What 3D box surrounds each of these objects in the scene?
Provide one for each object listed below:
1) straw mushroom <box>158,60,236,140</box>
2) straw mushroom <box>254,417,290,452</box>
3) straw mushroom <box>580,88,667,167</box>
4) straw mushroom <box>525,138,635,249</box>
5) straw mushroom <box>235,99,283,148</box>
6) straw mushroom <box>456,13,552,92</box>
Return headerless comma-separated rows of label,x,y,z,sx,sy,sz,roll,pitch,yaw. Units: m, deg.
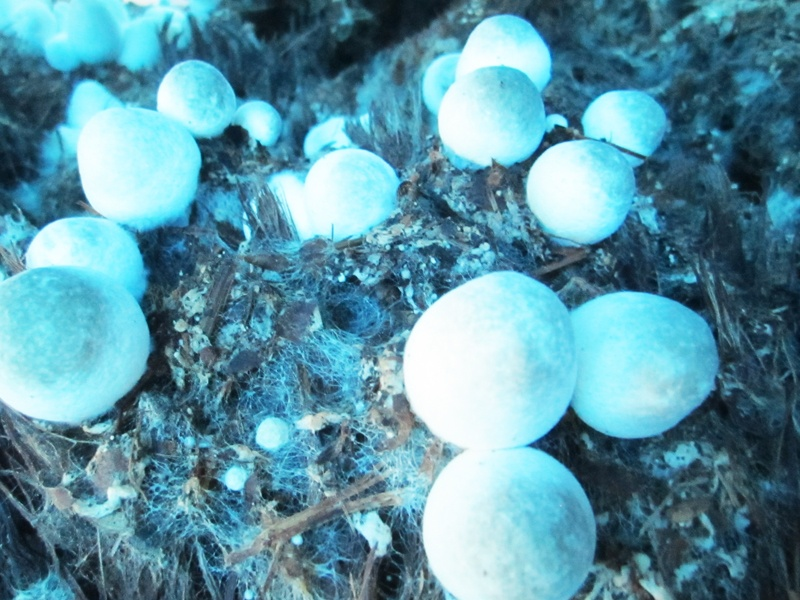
straw mushroom,-0.612,-0.624,3.016,0.220,0.125,0.223,25,87,-17
straw mushroom,-0.361,0.387,2.839,0.098,0.058,0.072,1,43,-9
straw mushroom,0.699,-0.544,3.079,0.206,0.128,0.246,-9,86,7
straw mushroom,0.514,-0.320,2.934,0.253,0.308,0.331,16,45,18
straw mushroom,-0.461,-0.585,3.261,0.155,0.106,0.108,1,42,-9
straw mushroom,0.328,-0.770,3.014,0.204,0.138,0.274,24,76,-6
